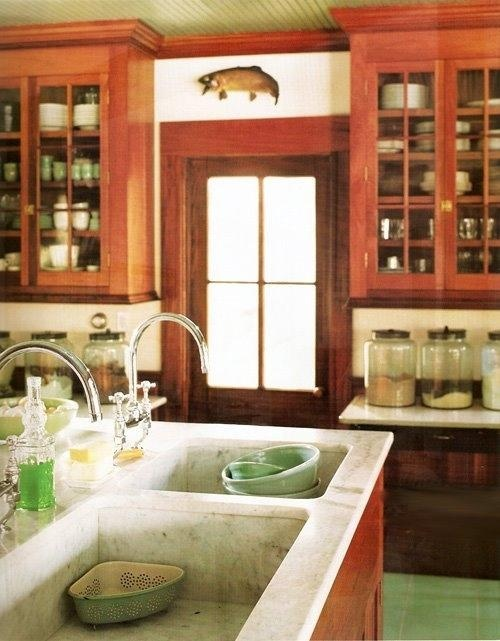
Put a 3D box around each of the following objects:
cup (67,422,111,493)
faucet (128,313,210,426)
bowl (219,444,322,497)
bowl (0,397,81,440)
[{"bbox_3d":[-0.185,0.155,0.720,0.041,0.024,0.073,3,10,0],"label":"cup"},{"bbox_3d":[-0.110,0.055,0.710,0.073,0.130,0.134,-1,3,-35],"label":"faucet"},{"bbox_3d":[0.031,0.188,0.793,0.076,0.032,0.081,-14,-9,-2],"label":"bowl"},{"bbox_3d":[-0.266,0.112,0.769,0.073,0.021,0.070,-1,3,0],"label":"bowl"}]
